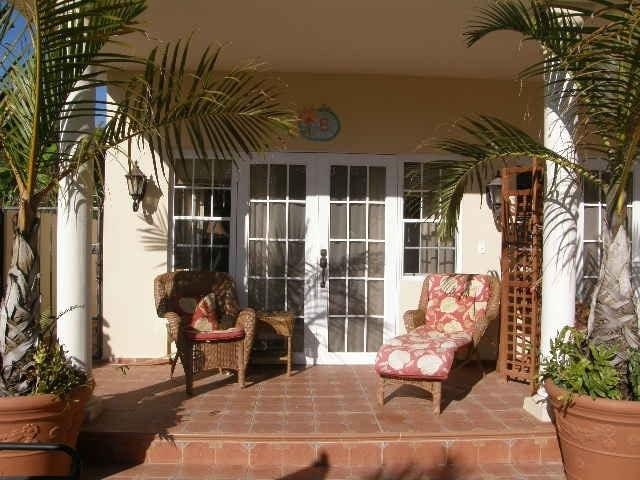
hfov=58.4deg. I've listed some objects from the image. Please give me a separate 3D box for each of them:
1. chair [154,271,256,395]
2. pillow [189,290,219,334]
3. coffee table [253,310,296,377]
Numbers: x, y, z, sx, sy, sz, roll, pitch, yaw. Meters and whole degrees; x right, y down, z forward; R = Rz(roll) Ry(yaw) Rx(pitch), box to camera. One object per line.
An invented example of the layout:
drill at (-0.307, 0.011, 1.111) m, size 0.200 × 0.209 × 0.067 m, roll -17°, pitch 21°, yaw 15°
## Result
chair at (-1.192, 0.908, 6.309) m, size 0.931 × 1.332 × 1.218 m, roll 2°, pitch -7°, yaw -23°
pillow at (-1.154, 0.730, 5.787) m, size 0.298 × 0.378 × 0.312 m, roll 11°, pitch -15°, yaw -28°
coffee table at (-0.445, 1.133, 6.437) m, size 0.532 × 0.738 × 0.571 m, roll 0°, pitch -5°, yaw -3°
